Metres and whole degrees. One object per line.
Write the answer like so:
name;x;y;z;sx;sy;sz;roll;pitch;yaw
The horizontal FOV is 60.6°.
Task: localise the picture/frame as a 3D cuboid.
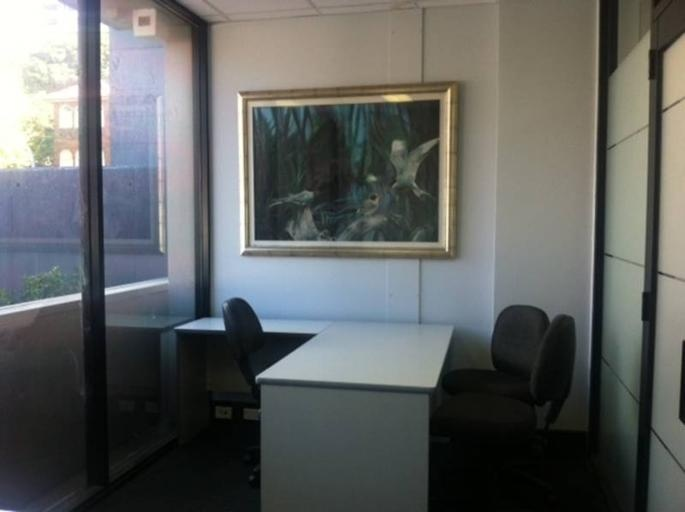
picture/frame;0.028;-0.611;4.399;1.632;1.341;0.074;-1;-7;4
